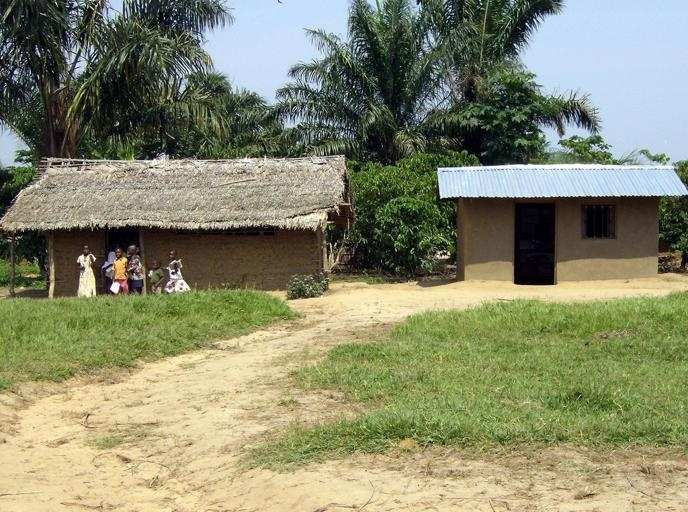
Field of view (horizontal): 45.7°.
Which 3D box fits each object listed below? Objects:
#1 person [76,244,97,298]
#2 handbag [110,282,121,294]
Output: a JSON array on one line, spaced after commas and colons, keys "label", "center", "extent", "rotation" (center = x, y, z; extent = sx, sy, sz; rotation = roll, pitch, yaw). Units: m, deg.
[{"label": "person", "center": [-6.234, 0.358, 19.836], "extent": [0.404, 1.252, 1.732], "rotation": [-1, -2, -18]}, {"label": "handbag", "center": [-5.168, 0.792, 18.529], "extent": [0.065, 0.262, 0.271], "rotation": [15, 31, -43]}]
